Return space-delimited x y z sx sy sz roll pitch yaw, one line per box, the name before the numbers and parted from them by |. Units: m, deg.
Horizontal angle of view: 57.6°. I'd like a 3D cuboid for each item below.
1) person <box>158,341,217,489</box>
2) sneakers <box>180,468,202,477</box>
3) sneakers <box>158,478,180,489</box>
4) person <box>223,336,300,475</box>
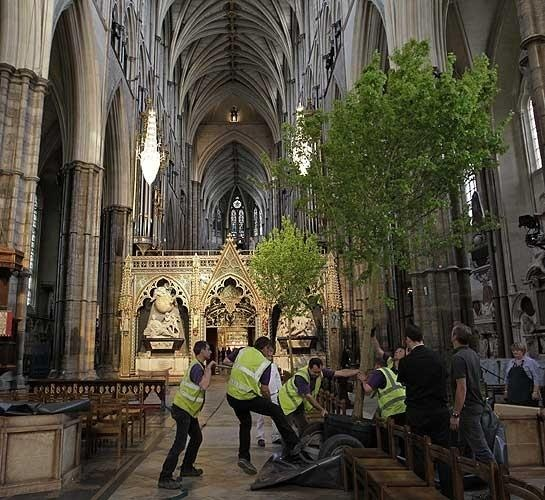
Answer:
person | -1.105 2.040 6.424 0.686 1.689 1.717 -2 -12 -9
sneakers | -1.018 2.799 6.238 0.279 0.151 0.107 1 -8 -8
sneakers | -1.157 2.666 5.636 0.188 0.090 0.119 -1 -6 4
person | -0.137 1.957 6.106 0.822 1.526 0.605 -4 -12 0
